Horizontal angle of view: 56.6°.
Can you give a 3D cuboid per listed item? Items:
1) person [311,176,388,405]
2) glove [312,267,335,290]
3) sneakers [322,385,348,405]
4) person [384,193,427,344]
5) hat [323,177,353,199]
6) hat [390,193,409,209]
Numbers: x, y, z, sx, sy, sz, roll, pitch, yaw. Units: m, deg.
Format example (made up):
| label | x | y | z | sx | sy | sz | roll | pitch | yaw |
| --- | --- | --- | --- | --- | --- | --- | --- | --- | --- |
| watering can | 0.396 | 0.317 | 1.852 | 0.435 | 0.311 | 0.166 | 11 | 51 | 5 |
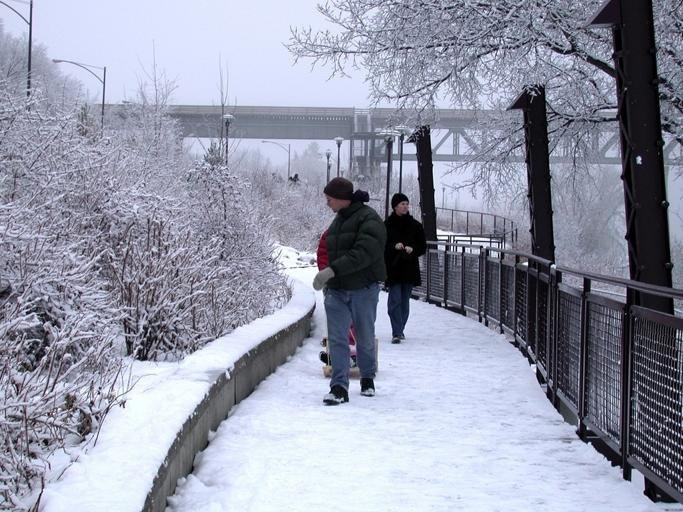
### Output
| label | x | y | z | sx | sy | sz | roll | pitch | yaw |
| --- | --- | --- | --- | --- | --- | --- | --- | --- | --- |
| person | 0.104 | 0.342 | 6.670 | 0.724 | 2.330 | 0.517 | 1 | 2 | -5 |
| glove | -0.182 | 0.237 | 6.516 | 0.215 | 0.255 | 0.542 | 1 | 3 | -1 |
| sneakers | -0.063 | 1.427 | 6.494 | 0.113 | 0.159 | 0.314 | -3 | -17 | 15 |
| person | 0.996 | 0.195 | 10.040 | 0.655 | 2.356 | 0.933 | 1 | 2 | 6 |
| hat | -0.034 | -0.704 | 6.746 | 0.223 | 0.176 | 0.229 | -4 | 20 | 6 |
| hat | 0.884 | -0.861 | 9.715 | 0.212 | 0.223 | 0.213 | -7 | 7 | 0 |
